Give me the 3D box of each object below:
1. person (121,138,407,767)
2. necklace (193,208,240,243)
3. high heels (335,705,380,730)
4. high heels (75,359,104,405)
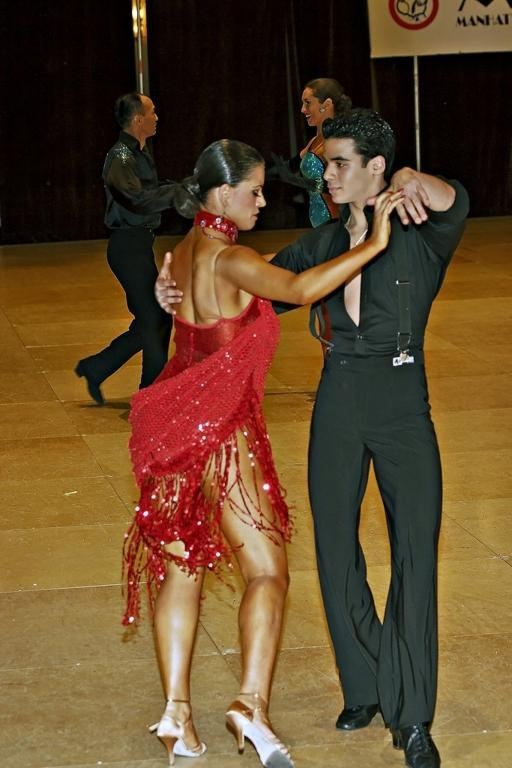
[{"bbox_3d":[-0.011,0.174,1.717,0.547,1.493,0.558,-4,12,-14],"label":"person"},{"bbox_3d":[-0.091,-0.381,1.749,0.097,0.051,0.076,24,3,6],"label":"necklace"},{"bbox_3d":[0.276,0.885,1.928,0.047,0.049,0.134,-2,-3,40],"label":"high heels"},{"bbox_3d":[-1.350,-0.014,5.812,0.166,0.355,0.130,-21,8,45],"label":"high heels"}]
